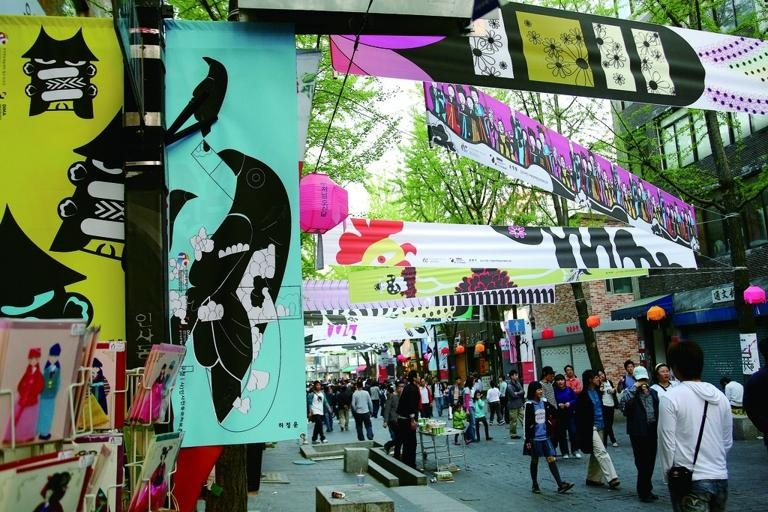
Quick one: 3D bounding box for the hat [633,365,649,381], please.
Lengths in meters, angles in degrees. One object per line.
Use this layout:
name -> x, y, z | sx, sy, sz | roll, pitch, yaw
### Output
hat -> 4.480, 2.052, 11.197 | 0.231, 0.175, 0.340 | -1, -12, 8

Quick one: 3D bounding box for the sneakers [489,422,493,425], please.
sneakers -> 4.251, 6.668, 25.518 | 0.093, 0.148, 0.148 | 2, 2, 7

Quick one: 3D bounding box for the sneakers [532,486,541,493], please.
sneakers -> 2.797, 4.297, 11.813 | 0.150, 0.119, 0.277 | -7, -13, 12

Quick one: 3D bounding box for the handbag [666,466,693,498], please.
handbag -> 2.706, 2.062, 5.865 | 0.166, 0.300, 0.265 | 12, -14, -37

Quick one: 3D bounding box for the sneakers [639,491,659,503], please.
sneakers -> 4.369, 3.987, 10.590 | 0.238, 0.162, 0.138 | -3, 0, -3

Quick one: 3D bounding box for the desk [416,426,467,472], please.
desk -> 1.152, 4.921, 16.587 | 0.949, 0.757, 1.590 | 8, -11, -29

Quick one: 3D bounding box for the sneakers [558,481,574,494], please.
sneakers -> 3.268, 4.178, 11.622 | 0.266, 0.193, 0.447 | -7, -13, 12

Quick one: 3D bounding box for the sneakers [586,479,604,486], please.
sneakers -> 3.932, 4.234, 11.995 | 0.320, 0.125, 0.108 | 0, -2, 5
